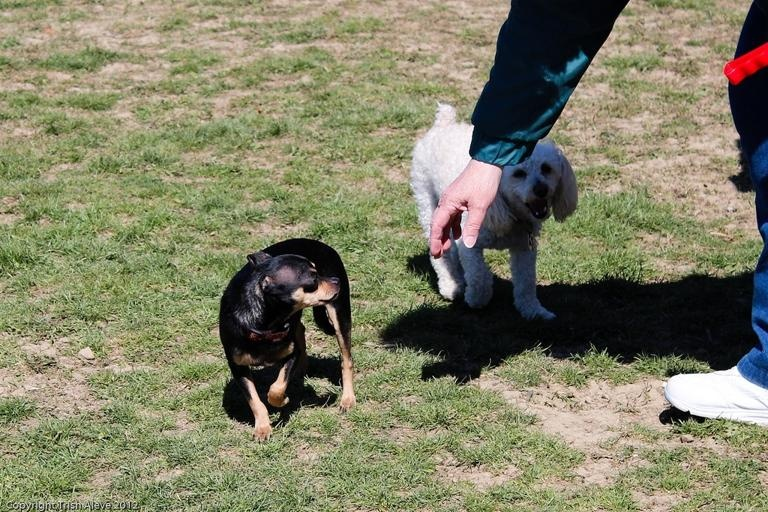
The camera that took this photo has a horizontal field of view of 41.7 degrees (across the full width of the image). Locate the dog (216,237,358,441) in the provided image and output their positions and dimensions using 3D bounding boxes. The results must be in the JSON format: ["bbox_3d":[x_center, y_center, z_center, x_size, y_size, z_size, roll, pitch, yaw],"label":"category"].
[{"bbox_3d":[-0.843,0.707,8.944,1.152,1.488,0.991,-10,28,-28],"label":"dog"}]
